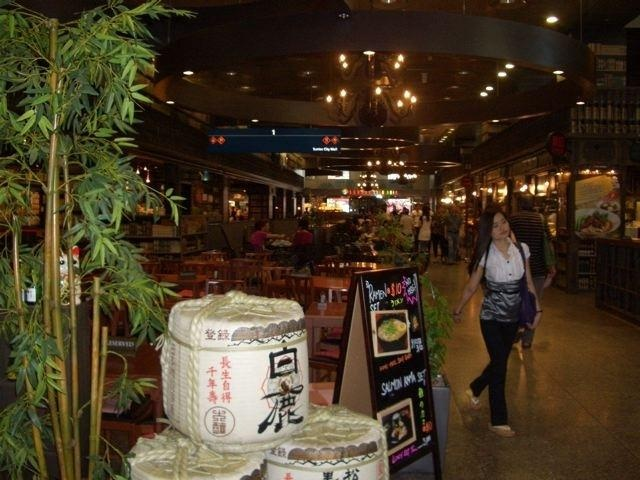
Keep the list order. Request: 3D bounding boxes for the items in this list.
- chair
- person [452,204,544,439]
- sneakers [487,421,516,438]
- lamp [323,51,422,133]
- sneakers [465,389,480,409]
[{"bbox_3d":[-0.237,0.441,1.578,0.738,0.541,0.324,-2,4,-17],"label":"chair"},{"bbox_3d":[1.441,0.663,3.892,0.629,1.790,0.395,-2,4,-19],"label":"person"},{"bbox_3d":[1.461,1.509,3.887,0.194,0.085,0.083,-2,0,40],"label":"sneakers"},{"bbox_3d":[0.816,-2.327,7.483,1.654,1.446,1.587,1,10,3],"label":"lamp"},{"bbox_3d":[1.386,1.464,4.424,0.085,0.224,0.114,-6,16,43],"label":"sneakers"}]
